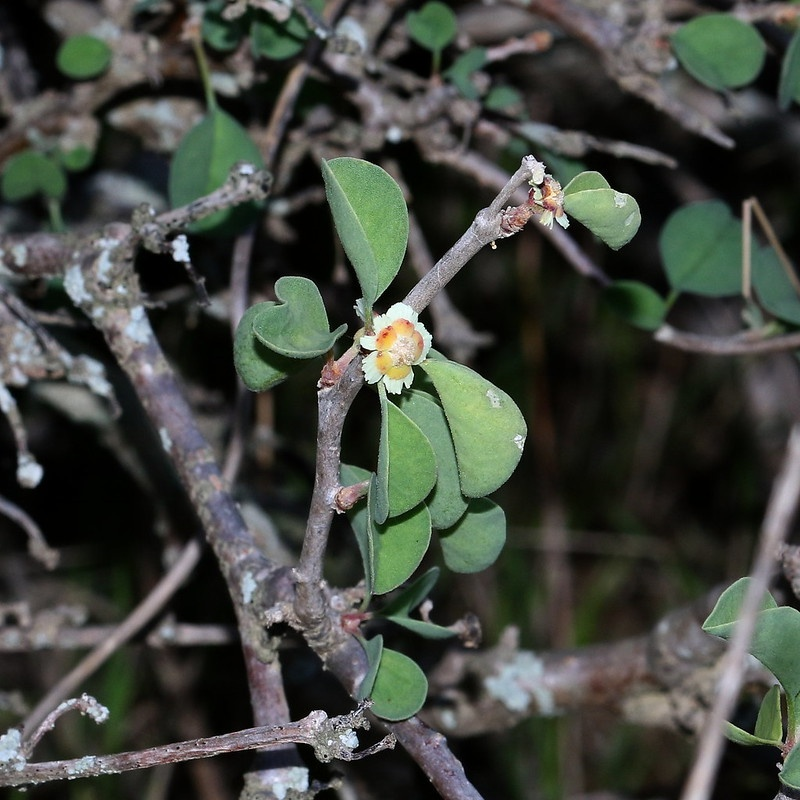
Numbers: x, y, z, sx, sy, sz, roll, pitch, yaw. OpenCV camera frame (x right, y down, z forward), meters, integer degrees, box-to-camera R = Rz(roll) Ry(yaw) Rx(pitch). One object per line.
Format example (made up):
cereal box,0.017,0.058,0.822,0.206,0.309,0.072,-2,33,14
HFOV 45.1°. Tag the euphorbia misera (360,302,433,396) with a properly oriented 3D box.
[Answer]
euphorbia misera,-0.005,-0.039,0.775,0.039,0.075,0.065,30,58,23
